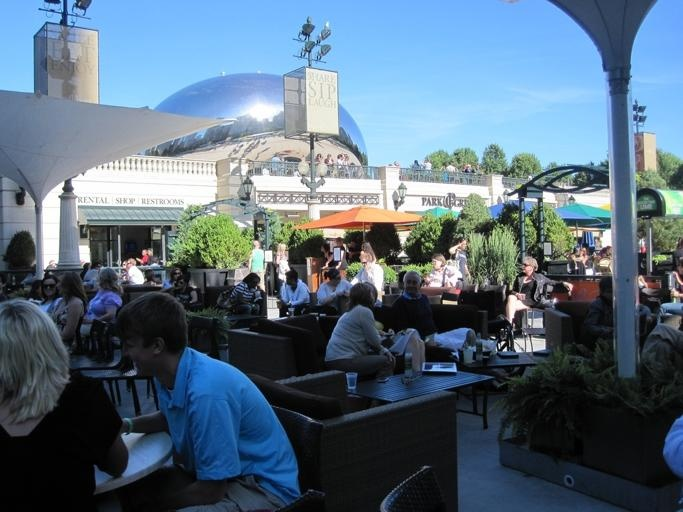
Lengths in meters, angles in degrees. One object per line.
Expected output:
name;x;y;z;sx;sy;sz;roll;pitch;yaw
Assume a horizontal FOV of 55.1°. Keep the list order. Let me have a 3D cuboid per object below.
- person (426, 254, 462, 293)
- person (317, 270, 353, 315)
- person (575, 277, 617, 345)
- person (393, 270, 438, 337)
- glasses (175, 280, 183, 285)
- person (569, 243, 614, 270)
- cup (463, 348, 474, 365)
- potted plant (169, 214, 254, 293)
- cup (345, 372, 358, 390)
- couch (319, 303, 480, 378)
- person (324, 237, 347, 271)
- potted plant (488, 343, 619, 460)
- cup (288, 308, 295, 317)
person;2.109;0.372;14.004;0.436;0.842;0.805;-12;11;-39
person;-0.053;0.633;11.245;0.676;0.942;0.629;-1;0;-31
person;2.787;0.616;7.144;0.310;0.754;0.705;0;8;21
person;0.987;0.688;8.550;0.556;0.989;0.482;-4;-6;-27
glasses;-2.726;0.438;11.019;0.067;0.122;0.111;2;4;14
person;6.689;0.023;17.632;0.809;0.422;0.836;0;-1;-22
cup;1.399;1.109;7.230;0.124;0.157;0.139;0;-6;4
potted plant;-3.868;-0.246;19.314;2.060;2.489;2.292;0;4;6
cup;0.096;1.161;6.067;0.125;0.156;0.138;0;-5;1
couch;0.424;0.937;7.293;1.132;0.864;0.621;-6;9;-3
person;-0.158;-0.045;19.305;0.952;0.728;0.586;0;1;18
potted plant;1.786;1.139;5.497;0.806;0.837;0.866;-3;2;-15
cup;-0.826;0.922;10.782;0.135;0.186;0.143;0;-4;0
